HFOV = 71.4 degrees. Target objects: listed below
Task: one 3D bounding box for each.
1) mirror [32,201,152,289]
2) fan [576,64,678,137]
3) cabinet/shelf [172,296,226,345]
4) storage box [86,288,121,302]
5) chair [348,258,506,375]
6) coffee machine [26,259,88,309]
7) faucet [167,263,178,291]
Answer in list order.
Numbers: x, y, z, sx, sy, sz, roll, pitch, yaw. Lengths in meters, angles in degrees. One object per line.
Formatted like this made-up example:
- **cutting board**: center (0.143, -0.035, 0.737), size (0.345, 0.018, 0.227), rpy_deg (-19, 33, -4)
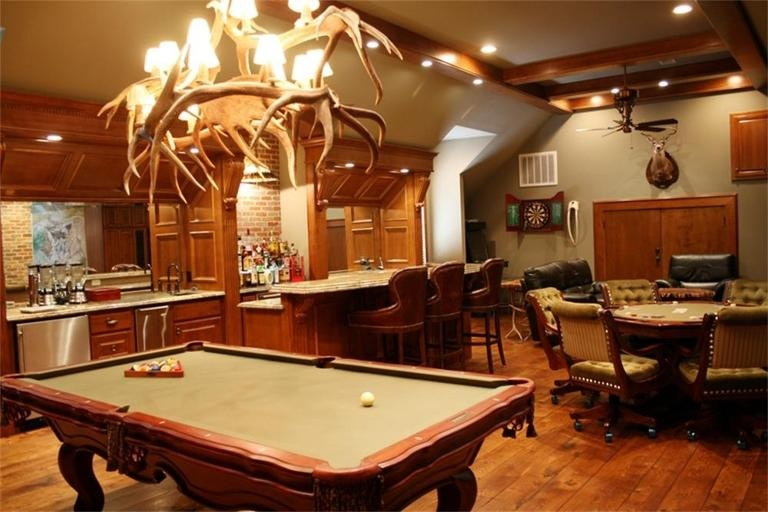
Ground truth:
- **mirror**: center (-4.087, -0.088, 7.390), size (1.302, 1.149, 0.441), rpy_deg (-2, -22, -23)
- **fan**: center (4.085, -2.472, 8.989), size (1.563, 0.769, 1.365), rpy_deg (-11, 16, -5)
- **cabinet/shelf**: center (-2.334, 0.791, 6.756), size (0.478, 0.686, 0.726), rpy_deg (-1, -1, 33)
- **storage box**: center (-3.244, 0.452, 6.164), size (0.352, 0.151, 0.228), rpy_deg (-5, 10, -29)
- **chair**: center (0.531, 0.561, 6.245), size (1.246, 1.580, 1.126), rpy_deg (-2, 3, -45)
- **coffee machine**: center (-3.682, 0.323, 5.989), size (0.501, 0.410, 0.574), rpy_deg (-3, -2, 33)
- **faucet**: center (-2.819, 0.288, 7.143), size (0.150, 0.371, 0.647), rpy_deg (-4, 9, -21)
